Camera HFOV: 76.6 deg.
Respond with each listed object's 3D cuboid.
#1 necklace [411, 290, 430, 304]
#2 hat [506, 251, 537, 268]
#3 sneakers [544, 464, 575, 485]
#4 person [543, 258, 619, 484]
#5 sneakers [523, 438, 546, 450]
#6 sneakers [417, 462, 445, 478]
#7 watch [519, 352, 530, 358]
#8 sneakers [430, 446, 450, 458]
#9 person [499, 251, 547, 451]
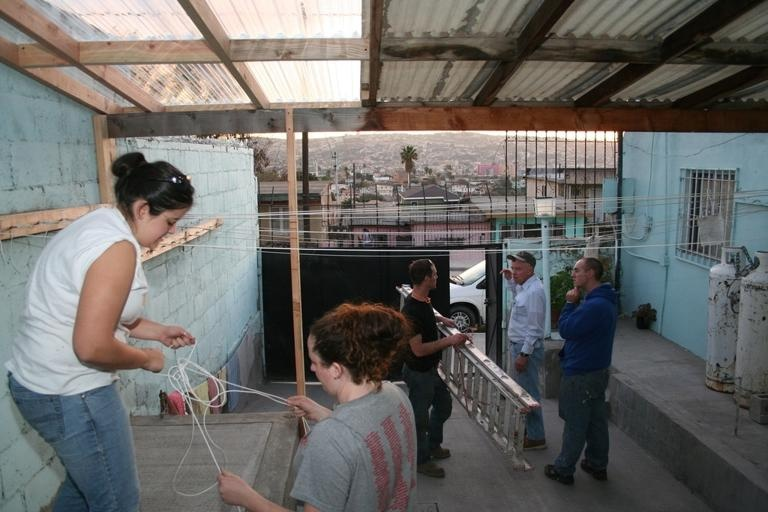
[{"bbox_3d":[0.358,0.455,5.338,0.172,0.041,0.174,13,11,-23],"label":"necklace"},{"bbox_3d":[1.778,0.019,6.209,0.376,0.136,0.230,14,0,-5],"label":"hat"},{"bbox_3d":[1.954,2.442,5.532,0.150,0.152,0.347,-9,22,-36],"label":"sneakers"},{"bbox_3d":[2.221,1.300,5.392,0.673,2.575,0.519,-2,6,-12],"label":"person"},{"bbox_3d":[1.923,2.398,6.193,0.335,0.131,0.118,2,0,-6],"label":"sneakers"},{"bbox_3d":[0.551,2.440,5.598,0.367,0.140,0.139,0,-1,12],"label":"sneakers"},{"bbox_3d":[1.712,1.200,5.932,0.090,0.054,0.079,12,3,6],"label":"watch"},{"bbox_3d":[0.691,2.396,5.959,0.252,0.105,0.111,-3,1,-1],"label":"sneakers"},{"bbox_3d":[1.807,1.207,6.224,0.549,2.520,1.174,0,6,14],"label":"person"}]
